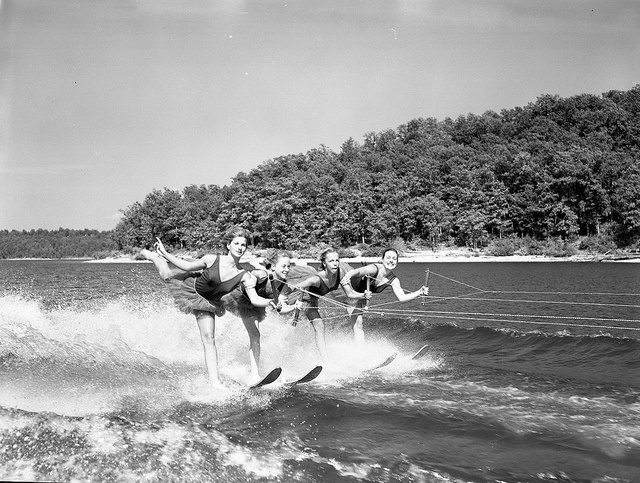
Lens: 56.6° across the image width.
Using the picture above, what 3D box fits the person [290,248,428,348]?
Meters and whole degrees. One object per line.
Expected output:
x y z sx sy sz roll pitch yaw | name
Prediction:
0.643 0.848 9.533 1.103 1.184 1.738 8 2 -24 | person

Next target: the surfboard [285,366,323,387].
-0.229 1.777 7.927 0.457 0.260 0.309 -2 6 -4 | surfboard

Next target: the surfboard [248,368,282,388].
-0.756 1.844 7.790 0.161 0.129 0.760 18 -35 -33 | surfboard

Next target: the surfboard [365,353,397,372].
0.867 1.747 8.464 0.454 0.169 0.050 -26 -20 13 | surfboard

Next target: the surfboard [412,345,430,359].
1.449 1.657 8.746 0.201 0.040 0.201 -25 -16 -47 | surfboard
